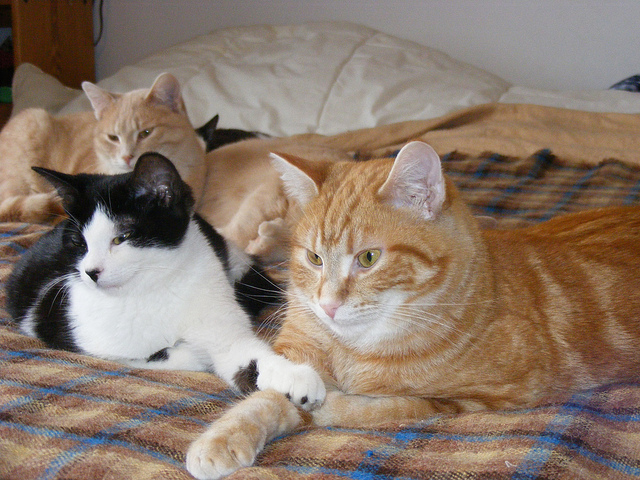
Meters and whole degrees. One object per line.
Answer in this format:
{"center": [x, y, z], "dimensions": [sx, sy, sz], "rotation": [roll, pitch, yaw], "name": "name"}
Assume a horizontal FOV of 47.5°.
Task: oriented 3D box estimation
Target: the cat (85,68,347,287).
{"center": [-0.353, -0.205, 3.231], "dimensions": [1.269, 0.460, 0.814], "rotation": [-5, 75, -54], "name": "cat"}

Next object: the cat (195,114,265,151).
{"center": [-0.391, -0.473, 3.239], "dimensions": [0.263, 0.078, 0.176], "rotation": [11, 7, 11], "name": "cat"}
